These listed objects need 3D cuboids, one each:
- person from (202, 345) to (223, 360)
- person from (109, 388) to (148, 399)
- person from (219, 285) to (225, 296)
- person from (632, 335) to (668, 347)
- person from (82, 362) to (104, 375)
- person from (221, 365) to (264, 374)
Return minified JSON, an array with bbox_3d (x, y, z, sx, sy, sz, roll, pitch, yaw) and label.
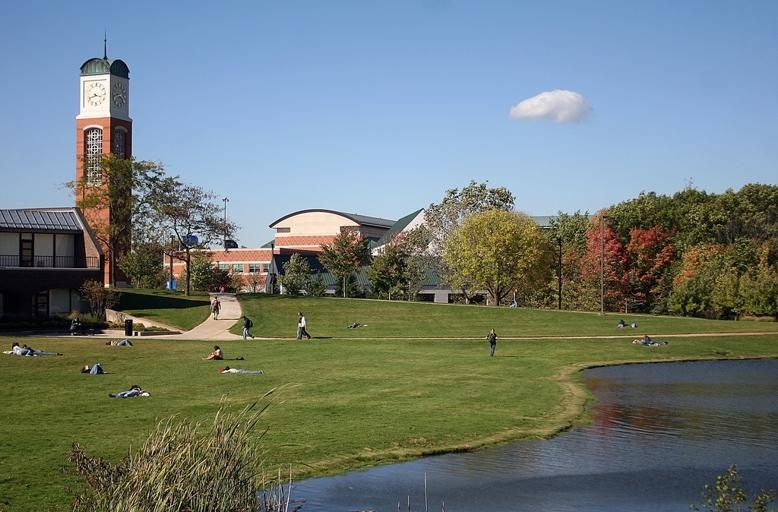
[{"bbox_3d":[-10.715,5.938,58.562,1.111,0.864,1.594,-2,-3,-11],"label":"person"},{"bbox_3d":[-12.733,6.785,46.984,1.248,0.347,0.728,5,16,-15],"label":"person"},{"bbox_3d":[-19.945,4.099,114.123,0.581,0.723,1.068,-2,7,-5],"label":"person"},{"bbox_3d":[18.993,6.298,69.390,1.504,0.519,1.203,2,-6,29],"label":"person"},{"bbox_3d":[-16.335,6.251,52.559,0.996,0.374,0.839,-5,-6,42],"label":"person"},{"bbox_3d":[-8.239,6.411,53.524,2.333,0.418,1.203,-3,-3,4],"label":"person"}]
